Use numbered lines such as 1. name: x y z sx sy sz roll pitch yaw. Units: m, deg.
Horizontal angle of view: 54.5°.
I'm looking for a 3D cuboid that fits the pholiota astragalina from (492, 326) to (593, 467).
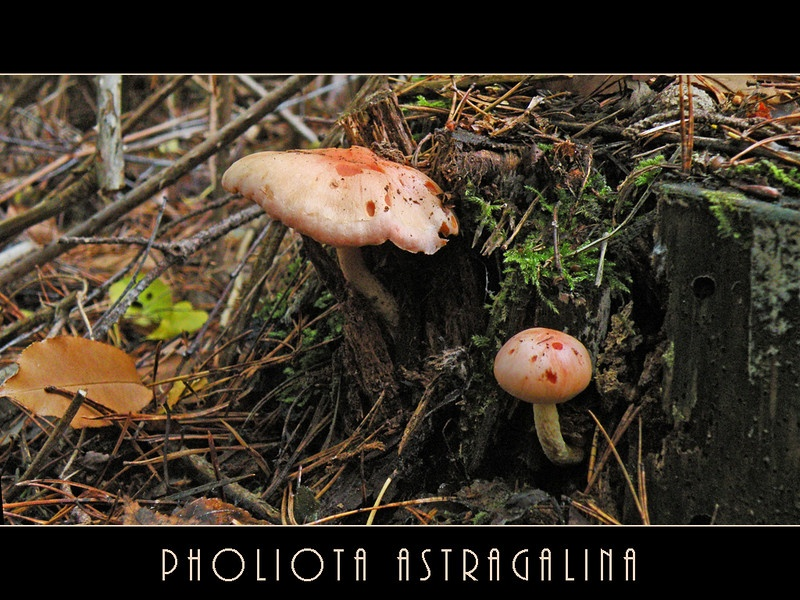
1. pholiota astragalina: 0.650 0.328 3.768 0.516 0.762 0.531 -7 26 9
